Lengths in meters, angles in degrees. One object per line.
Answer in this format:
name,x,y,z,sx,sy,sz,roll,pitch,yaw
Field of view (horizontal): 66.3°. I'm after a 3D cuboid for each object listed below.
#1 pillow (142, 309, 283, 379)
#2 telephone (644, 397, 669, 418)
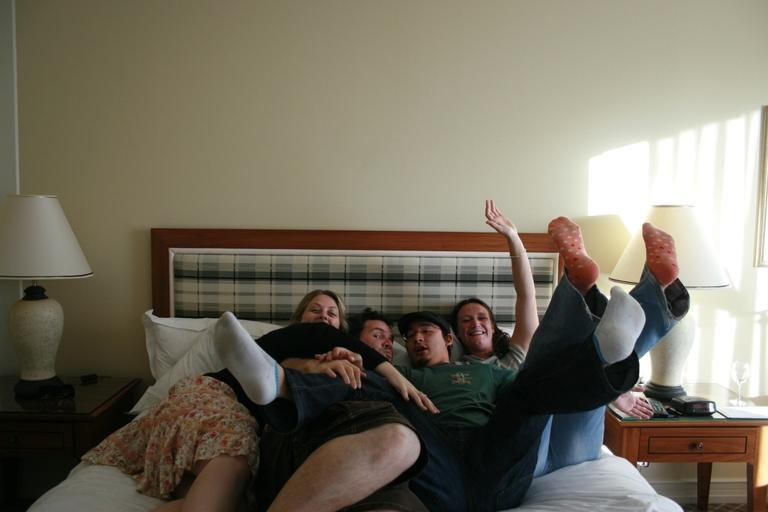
pillow,-1.173,0.552,3.704,0.565,0.162,0.494,-12,30,-22
telephone,1.554,0.864,3.336,0.081,0.026,0.115,17,17,2
